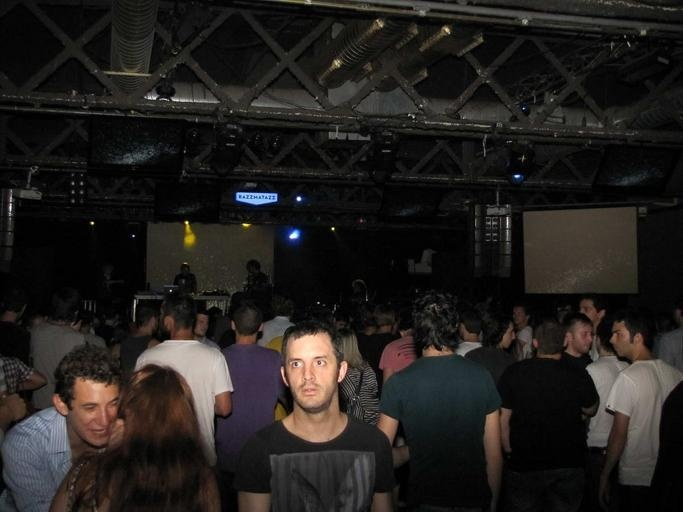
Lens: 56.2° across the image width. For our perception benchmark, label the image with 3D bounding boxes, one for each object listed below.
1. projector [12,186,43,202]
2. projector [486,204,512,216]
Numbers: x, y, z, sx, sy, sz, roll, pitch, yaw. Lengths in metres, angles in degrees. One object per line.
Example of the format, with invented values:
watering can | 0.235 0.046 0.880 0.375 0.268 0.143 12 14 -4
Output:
projector | -4.673 -0.937 9.480 0.356 0.187 0.265 2 -5 -29
projector | 2.479 -0.723 10.154 0.376 0.169 0.087 0 -4 3
